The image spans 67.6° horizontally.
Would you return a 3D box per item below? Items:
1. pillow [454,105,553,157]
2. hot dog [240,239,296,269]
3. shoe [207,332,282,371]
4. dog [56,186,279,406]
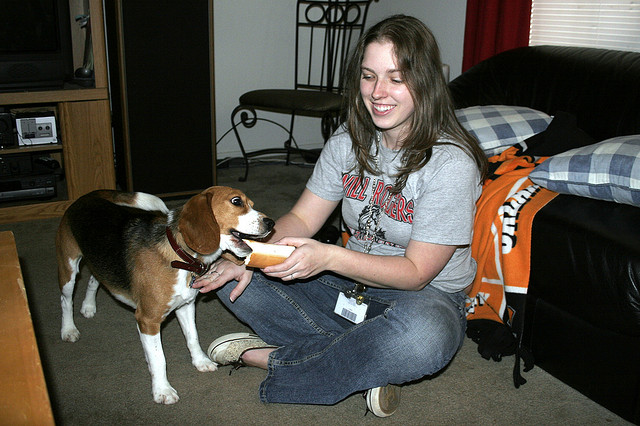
[{"bbox_3d":[1.155,-0.552,2.965,0.485,0.143,0.501,-17,32,-13],"label":"pillow"},{"bbox_3d":[-0.232,0.165,1.984,0.182,0.100,0.071,-1,-21,-1],"label":"hot dog"},{"bbox_3d":[-0.351,0.672,2.387,0.417,0.147,0.156,-1,34,-1],"label":"shoe"},{"bbox_3d":[-0.897,0.329,2.437,1.392,1.030,0.466,10,16,23],"label":"dog"}]
